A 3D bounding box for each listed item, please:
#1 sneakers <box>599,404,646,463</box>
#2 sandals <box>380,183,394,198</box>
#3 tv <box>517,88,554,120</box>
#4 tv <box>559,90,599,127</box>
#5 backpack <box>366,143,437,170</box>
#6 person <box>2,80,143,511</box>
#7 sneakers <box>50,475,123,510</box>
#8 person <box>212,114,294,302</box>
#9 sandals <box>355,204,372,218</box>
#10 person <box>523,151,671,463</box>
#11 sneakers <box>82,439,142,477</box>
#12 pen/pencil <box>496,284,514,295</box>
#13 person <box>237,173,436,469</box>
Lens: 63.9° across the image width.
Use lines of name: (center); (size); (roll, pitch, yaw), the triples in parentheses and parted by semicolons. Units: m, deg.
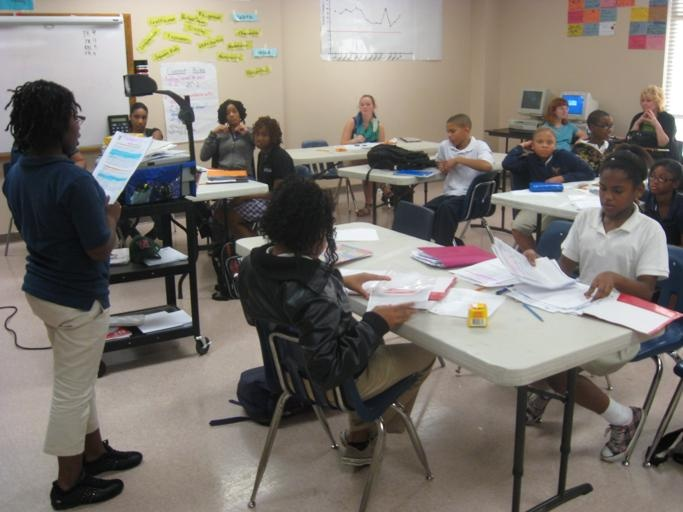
sneakers: (1.278, 0.843, 2.575); (0.126, 0.327, 0.118); (15, 17, -19)
sandals: (0.552, -0.763, 6.296); (0.061, 0.167, 0.128); (4, -6, -37)
tv: (2.524, -2.031, 7.344); (0.359, 0.500, 0.489); (-9, 21, -34)
tv: (3.010, -1.895, 6.965); (0.281, 0.395, 0.392); (-16, 24, -31)
backpack: (0.524, -0.881, 5.082); (0.386, 0.151, 0.312); (3, 8, 25)
person: (-1.124, 0.180, 2.305); (0.465, 1.744, 0.491); (-8, 21, -19)
sneakers: (-1.105, 1.022, 2.438); (0.323, 0.141, 0.121); (-3, 7, -27)
person: (-0.742, -0.495, 4.896); (0.771, 1.394, 0.583); (-8, 18, -18)
sandals: (0.258, -0.521, 6.498); (0.087, 0.109, 0.262); (-2, -3, 41)
person: (1.143, 0.214, 2.560); (0.675, 1.348, 0.657); (-5, 14, -14)
sneakers: (-1.050, 0.943, 2.579); (0.294, 0.134, 0.102); (-4, 10, -25)
pen/pencil: (0.681, 0.141, 2.287); (0.072, 0.018, 0.015); (-22, 22, -37)
person: (0.023, 0.316, 2.237); (0.671, 1.251, 0.626); (-14, 18, -29)
